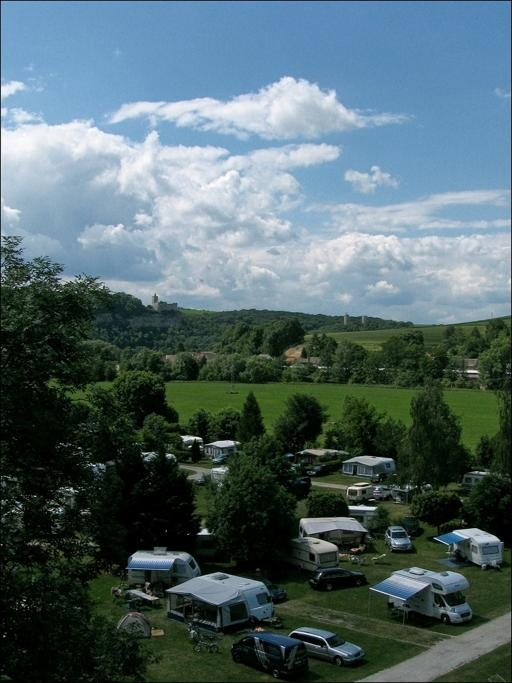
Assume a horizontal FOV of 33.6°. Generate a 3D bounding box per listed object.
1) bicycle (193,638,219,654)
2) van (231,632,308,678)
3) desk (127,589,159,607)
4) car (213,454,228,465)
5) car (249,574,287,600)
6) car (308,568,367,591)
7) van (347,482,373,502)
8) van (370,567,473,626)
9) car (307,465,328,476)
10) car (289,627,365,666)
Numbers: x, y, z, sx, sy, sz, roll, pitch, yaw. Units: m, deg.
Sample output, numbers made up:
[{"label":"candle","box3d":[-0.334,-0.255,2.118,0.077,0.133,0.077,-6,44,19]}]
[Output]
[{"label":"bicycle","box3d":[-2.264,13.584,37.948,1.190,0.282,1.396,0,3,-5]},{"label":"van","box3d":[0.623,13.360,36.303,2.824,1.033,1.491,4,-3,34]},{"label":"desk","box3d":[-5.749,13.165,43.396,1.598,0.594,1.643,0,3,-7]},{"label":"car","box3d":[-3.758,12.002,86.125,1.332,0.831,1.615,0,3,2]},{"label":"car","box3d":[0.580,12.684,43.601,1.401,0.861,2.774,2,-14,-4]},{"label":"car","box3d":[4.545,13.019,46.451,2.882,0.789,1.195,-3,1,-15]},{"label":"van","box3d":[8.333,12.099,67.443,1.114,0.840,1.937,-4,-7,23]},{"label":"van","box3d":[8.549,12.447,41.581,2.946,1.246,3.265,-3,-5,40]},{"label":"car","box3d":[5.655,12.215,79.574,1.530,0.763,2.127,1,3,22]},{"label":"car","box3d":[3.162,13.333,37.076,2.770,0.775,1.249,-4,-1,38]}]
